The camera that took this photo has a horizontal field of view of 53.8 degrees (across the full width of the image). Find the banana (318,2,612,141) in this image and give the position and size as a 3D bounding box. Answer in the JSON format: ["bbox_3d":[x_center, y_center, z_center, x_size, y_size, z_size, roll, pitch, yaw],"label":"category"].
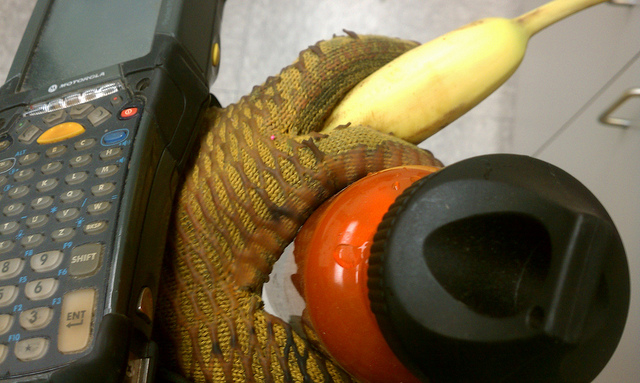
[{"bbox_3d":[0.220,-0.164,0.898,0.397,0.075,0.071,-28,32,-8],"label":"banana"}]
